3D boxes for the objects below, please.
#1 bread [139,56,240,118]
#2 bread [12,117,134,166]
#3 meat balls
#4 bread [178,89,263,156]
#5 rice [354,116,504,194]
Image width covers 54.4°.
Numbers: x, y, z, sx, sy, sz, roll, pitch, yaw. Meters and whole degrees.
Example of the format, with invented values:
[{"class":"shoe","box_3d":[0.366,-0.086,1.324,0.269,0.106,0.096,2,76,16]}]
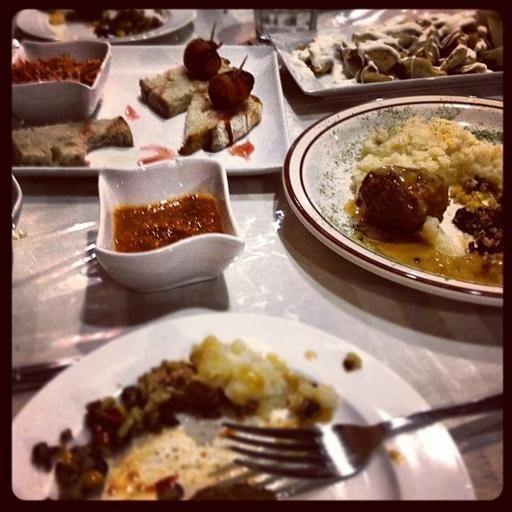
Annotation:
[{"class":"bread","box_3d":[-0.140,-0.350,1.045,0.198,0.102,0.125,-27,37,-35]},{"class":"bread","box_3d":[-0.332,-0.230,0.860,0.218,0.087,0.096,-12,29,-14]},{"class":"meat balls","box_3d":[0.233,-0.091,0.801,0.155,0.107,0.122,0,27,10]},{"class":"bread","box_3d":[-0.075,-0.275,1.010,0.159,0.123,0.135,-16,31,-22]},{"class":"rice","box_3d":[0.319,-0.196,0.915,0.178,0.066,0.174,-8,48,-6]}]
